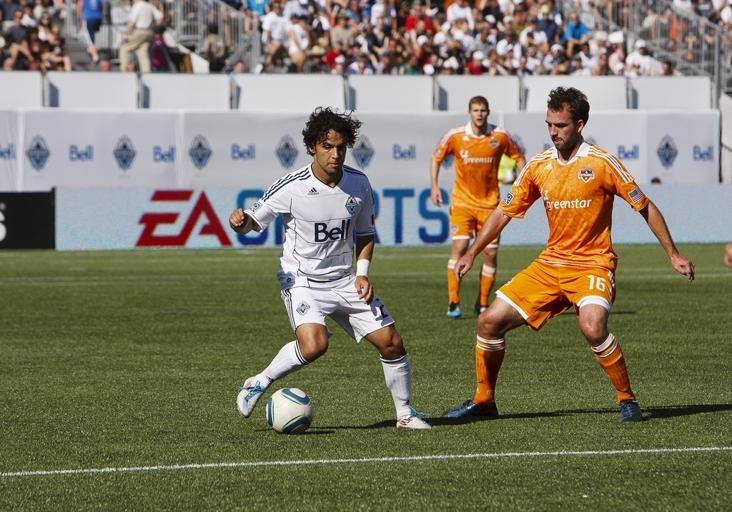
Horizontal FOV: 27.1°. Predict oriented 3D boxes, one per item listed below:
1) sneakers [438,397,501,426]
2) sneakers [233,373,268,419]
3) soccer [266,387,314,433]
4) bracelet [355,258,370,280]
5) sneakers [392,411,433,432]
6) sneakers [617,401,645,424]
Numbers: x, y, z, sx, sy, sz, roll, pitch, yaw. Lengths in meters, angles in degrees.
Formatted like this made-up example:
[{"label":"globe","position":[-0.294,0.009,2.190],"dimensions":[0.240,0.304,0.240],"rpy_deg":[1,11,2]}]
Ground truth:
[{"label":"sneakers","position":[1.135,1.645,16.295],"dimensions":[0.596,0.232,0.242],"rpy_deg":[-2,12,-5]},{"label":"sneakers","position":[-1.205,1.450,15.996],"dimensions":[0.262,0.213,0.596],"rpy_deg":[-14,40,21]},{"label":"soccer","position":[-0.814,1.651,16.107],"dimensions":[0.553,0.585,0.571],"rpy_deg":[-1,-1,2]},{"label":"bracelet","position":[-0.077,0.112,16.165],"dimensions":[0.159,0.266,0.164],"rpy_deg":[4,5,39]},{"label":"sneakers","position":[0.490,1.731,16.006],"dimensions":[0.329,0.147,0.189],"rpy_deg":[0,4,20]},{"label":"sneakers","position":[2.820,1.664,16.174],"dimensions":[0.194,0.195,0.475],"rpy_deg":[-1,-3,3]}]
